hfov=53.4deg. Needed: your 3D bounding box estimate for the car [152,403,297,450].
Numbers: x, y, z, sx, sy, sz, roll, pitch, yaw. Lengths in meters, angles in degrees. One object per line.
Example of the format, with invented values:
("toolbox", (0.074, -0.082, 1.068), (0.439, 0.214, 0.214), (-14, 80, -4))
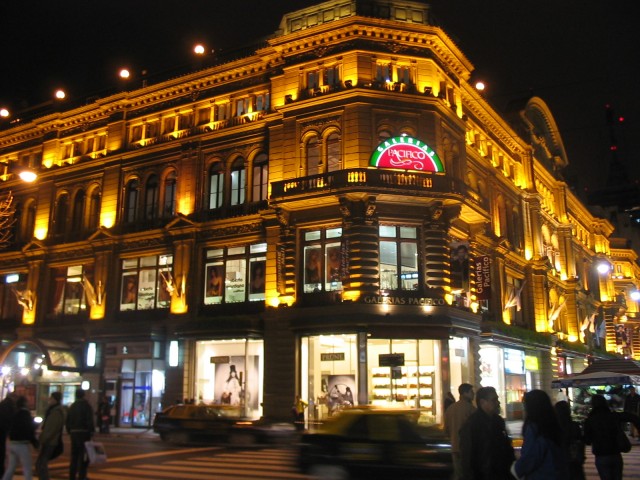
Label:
("car", (-4.247, 7.923, 27.172), (5.882, 1.702, 1.491), (-6, -19, 22))
